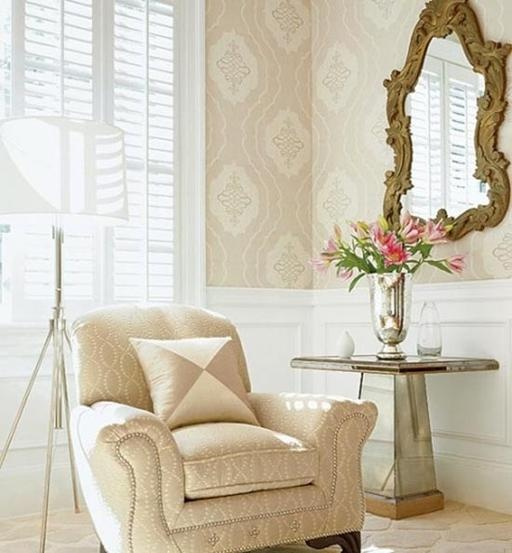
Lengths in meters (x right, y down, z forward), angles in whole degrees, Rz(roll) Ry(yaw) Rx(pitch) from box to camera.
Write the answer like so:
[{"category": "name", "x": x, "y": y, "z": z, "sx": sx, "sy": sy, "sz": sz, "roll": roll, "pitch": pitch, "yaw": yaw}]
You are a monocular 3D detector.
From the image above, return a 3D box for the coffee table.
[{"category": "coffee table", "x": 0.651, "y": 0.739, "z": 2.741, "sx": 0.760, "sy": 0.640, "sz": 0.777, "roll": 4, "pitch": -10, "yaw": -20}]

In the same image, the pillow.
[{"category": "pillow", "x": -0.192, "y": 0.283, "z": 2.081, "sx": 0.374, "sy": 0.353, "sz": 0.119, "roll": 4, "pitch": -40, "yaw": -33}]

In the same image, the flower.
[{"category": "flower", "x": 0.511, "y": -0.145, "z": 2.774, "sx": 0.388, "sy": 0.284, "sz": 0.527, "roll": -11, "pitch": -10, "yaw": -44}]

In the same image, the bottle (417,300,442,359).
[{"category": "bottle", "x": 0.792, "y": 0.243, "z": 2.742, "sx": 0.101, "sy": 0.256, "sz": 0.095, "roll": -2, "pitch": -1, "yaw": 0}]

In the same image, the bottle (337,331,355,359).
[{"category": "bottle", "x": 0.420, "y": 0.318, "z": 2.874, "sx": 0.108, "sy": 0.150, "sz": 0.108, "roll": 1, "pitch": -7, "yaw": 0}]
